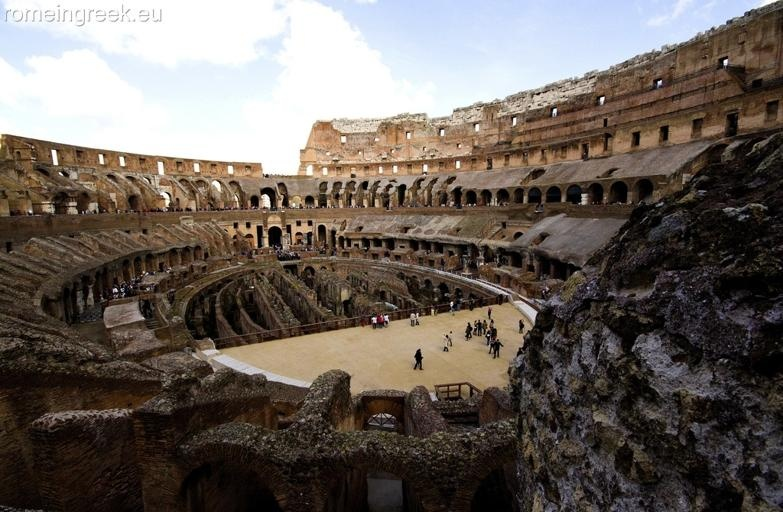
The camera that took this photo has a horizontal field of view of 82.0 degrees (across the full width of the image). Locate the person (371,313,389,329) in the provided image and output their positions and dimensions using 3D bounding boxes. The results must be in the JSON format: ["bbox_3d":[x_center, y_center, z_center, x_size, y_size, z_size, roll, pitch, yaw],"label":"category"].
[{"bbox_3d":[-0.483,3.020,20.804,0.627,0.241,0.715,-1,9,-8],"label":"person"}]
